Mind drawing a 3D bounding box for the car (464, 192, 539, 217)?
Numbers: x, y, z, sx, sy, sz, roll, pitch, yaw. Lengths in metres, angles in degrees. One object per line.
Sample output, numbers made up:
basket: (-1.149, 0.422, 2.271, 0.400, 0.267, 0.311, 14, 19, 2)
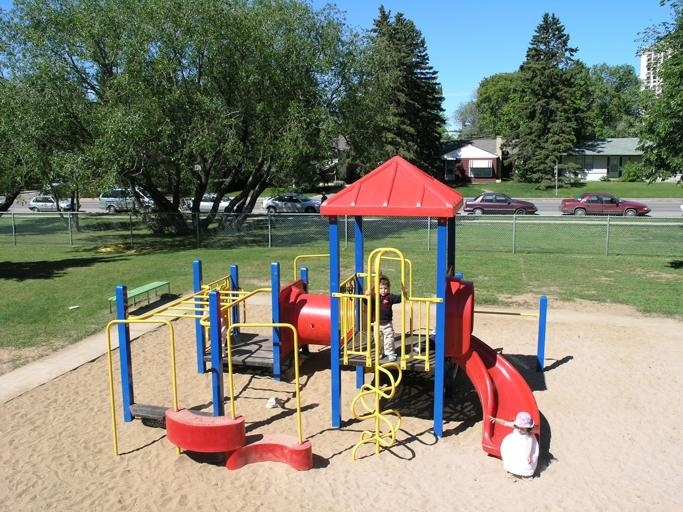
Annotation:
car: (9.190, -3.071, 37.695, 3.814, 1.189, 1.242, 2, 11, 19)

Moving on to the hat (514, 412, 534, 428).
hat: (3.115, 2.786, 10.939, 0.289, 0.187, 0.210, -1, 9, -25)

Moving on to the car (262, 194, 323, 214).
car: (-3.399, -3.458, 42.344, 3.830, 1.074, 2.853, -1, 10, 1)

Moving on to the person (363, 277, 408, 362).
person: (0.846, 1.107, 12.103, 0.555, 1.543, 1.005, -1, 10, 3)

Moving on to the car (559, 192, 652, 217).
car: (15.054, -2.911, 37.171, 5.909, 1.899, 2.718, 1, 13, 15)

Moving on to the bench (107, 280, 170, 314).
bench: (-5.800, 1.039, 18.410, 1.896, 0.939, 1.198, -2, 19, -14)
